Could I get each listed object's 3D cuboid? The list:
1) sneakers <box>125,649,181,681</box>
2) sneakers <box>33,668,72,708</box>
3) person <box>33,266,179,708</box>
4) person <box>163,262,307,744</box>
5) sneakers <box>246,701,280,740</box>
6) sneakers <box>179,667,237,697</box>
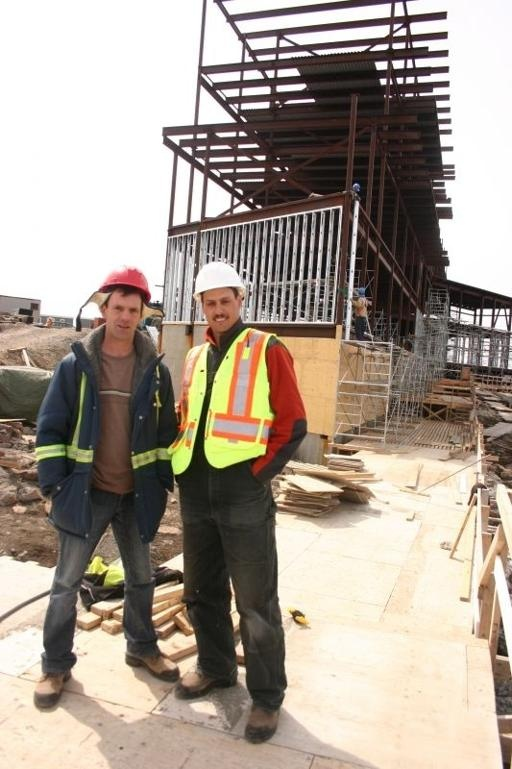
[{"bbox_3d":[-0.514,1.359,2.757,0.292,0.116,0.111,12,9,18],"label":"sneakers"},{"bbox_3d":[-0.901,1.321,2.442,0.101,0.097,0.261,3,-3,-4],"label":"sneakers"},{"bbox_3d":[-0.689,0.418,2.685,0.712,1.995,0.355,4,-3,-35],"label":"person"},{"bbox_3d":[-0.101,0.420,2.562,0.706,2.029,0.359,0,-4,45],"label":"person"},{"bbox_3d":[0.026,1.374,2.247,0.127,0.090,0.132,2,-3,-1],"label":"sneakers"},{"bbox_3d":[-0.236,1.379,2.602,0.281,0.118,0.094,11,-13,-30],"label":"sneakers"}]
